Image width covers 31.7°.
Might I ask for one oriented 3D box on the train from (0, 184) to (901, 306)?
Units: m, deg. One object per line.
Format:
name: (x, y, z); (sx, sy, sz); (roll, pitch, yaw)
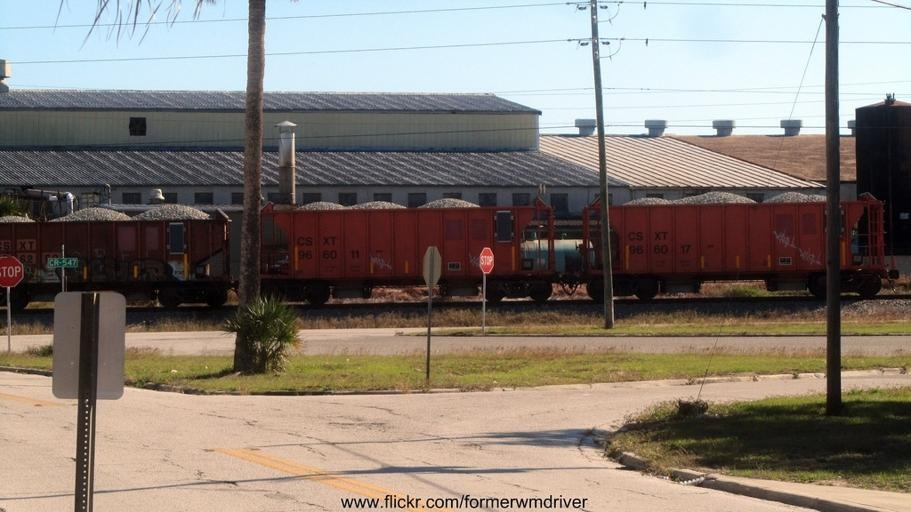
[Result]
train: (-0.806, -0.389, 91.290); (45.029, 6.202, 7.695); (0, -1, -1)

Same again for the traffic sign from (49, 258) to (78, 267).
traffic sign: (-19.482, 0.313, 81.196); (1.221, 0.306, 1.130); (-1, -3, 30)
